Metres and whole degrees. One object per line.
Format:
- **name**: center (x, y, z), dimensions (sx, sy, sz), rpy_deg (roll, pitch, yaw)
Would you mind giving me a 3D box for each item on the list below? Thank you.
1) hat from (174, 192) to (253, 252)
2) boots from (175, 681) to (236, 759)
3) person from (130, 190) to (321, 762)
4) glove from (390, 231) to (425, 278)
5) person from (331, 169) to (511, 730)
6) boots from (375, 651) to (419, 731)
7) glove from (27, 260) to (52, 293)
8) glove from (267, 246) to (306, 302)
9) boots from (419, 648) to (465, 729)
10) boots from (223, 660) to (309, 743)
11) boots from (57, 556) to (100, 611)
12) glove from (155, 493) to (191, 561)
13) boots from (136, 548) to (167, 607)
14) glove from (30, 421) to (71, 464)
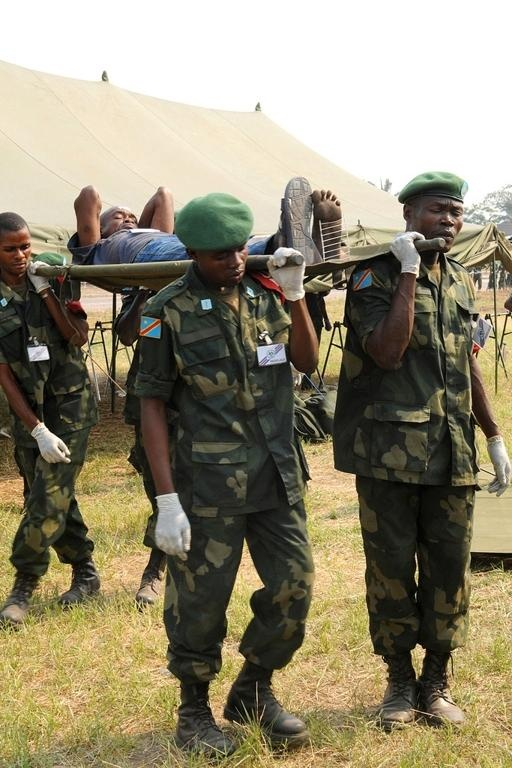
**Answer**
- **hat**: center (-0.145, -0.548, 2.376), dimensions (0.255, 0.216, 0.227), rpy_deg (4, 7, -7)
- **boots**: center (-0.181, 1.171, 2.473), dimensions (0.145, 0.241, 0.282), rpy_deg (11, -12, -37)
- **person**: center (-0.109, 0.313, 2.462), dimensions (0.651, 1.919, 0.472), rpy_deg (4, 8, -10)
- **glove**: center (0.563, -0.485, 2.656), dimensions (0.063, 0.160, 0.134), rpy_deg (-9, 6, 10)
- **person**: center (0.641, 0.357, 2.828), dimensions (0.716, 1.879, 0.551), rpy_deg (6, 7, 5)
- **boots**: center (0.565, 1.217, 2.827), dimensions (0.138, 0.215, 0.391), rpy_deg (-8, -9, 21)
- **glove**: center (-1.170, -0.573, 3.818), dimensions (0.147, 0.166, 0.091), rpy_deg (9, 8, 32)
- **glove**: center (0.106, -0.385, 2.493), dimensions (0.146, 0.175, 0.064), rpy_deg (3, 19, 35)
- **boots**: center (0.735, 1.206, 2.803), dimensions (0.161, 0.248, 0.392), rpy_deg (2, -11, 4)
- **boots**: center (0.042, 1.161, 2.610), dimensions (0.385, 0.237, 0.141), rpy_deg (4, -3, 40)
- **boots**: center (-1.088, 1.195, 4.264), dimensions (0.138, 0.233, 0.372), rpy_deg (-4, 8, 21)
- **glove**: center (-0.267, 0.465, 2.302), dimensions (0.149, 0.179, 0.066), rpy_deg (4, -16, -45)
- **boots**: center (-0.630, 1.164, 4.249), dimensions (0.137, 0.256, 0.388), rpy_deg (13, 14, 4)
- **glove**: center (-1.114, 0.314, 3.832), dimensions (0.129, 0.252, 0.147), rpy_deg (-42, -12, 29)
